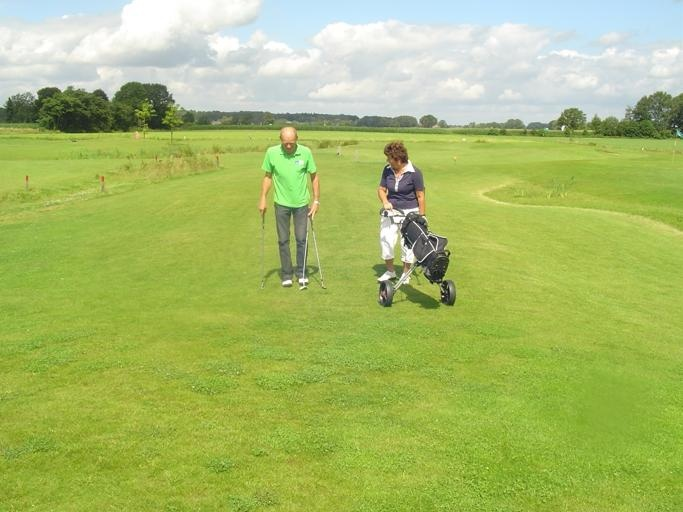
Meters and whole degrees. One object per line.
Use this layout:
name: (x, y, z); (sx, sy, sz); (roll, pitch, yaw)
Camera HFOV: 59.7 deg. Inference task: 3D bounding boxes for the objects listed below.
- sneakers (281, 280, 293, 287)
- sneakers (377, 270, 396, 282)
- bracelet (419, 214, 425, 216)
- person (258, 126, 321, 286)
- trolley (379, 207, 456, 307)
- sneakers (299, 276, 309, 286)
sneakers: (-1.078, 0.525, 11.683); (0.170, 0.071, 0.134); (1, 27, 0)
sneakers: (0.824, 0.387, 11.179); (0.422, 0.162, 0.148); (-15, 19, -43)
bracelet: (1.452, -0.727, 10.634); (0.054, 0.049, 0.053); (1, 12, -3)
person: (-0.993, -0.938, 11.519); (1.087, 3.094, 0.905); (-2, 10, -4)
trolley: (1.359, -0.003, 10.868); (1.394, 1.492, 2.173); (2, 13, -16)
sneakers: (-0.742, 0.501, 11.652); (0.137, 0.205, 0.238); (-14, -7, 32)
